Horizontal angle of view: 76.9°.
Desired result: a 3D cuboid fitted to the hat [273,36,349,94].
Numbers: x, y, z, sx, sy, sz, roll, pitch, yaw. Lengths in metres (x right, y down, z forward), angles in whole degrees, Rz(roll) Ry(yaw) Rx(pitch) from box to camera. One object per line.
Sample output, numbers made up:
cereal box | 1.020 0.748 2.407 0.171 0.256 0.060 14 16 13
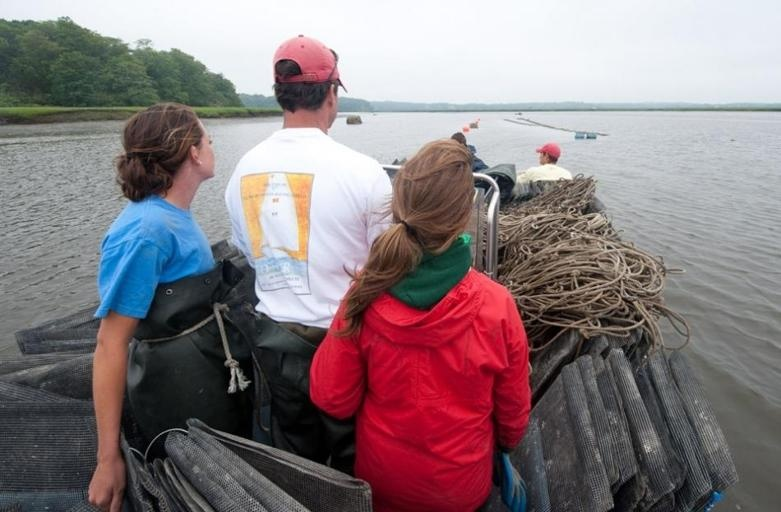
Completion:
hat | -0.683 -1.774 4.393 0.544 0.447 0.816 10 25 21

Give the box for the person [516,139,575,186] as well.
person | 3.851 -2.345 12.293 1.656 0.931 0.772 -9 33 -29
